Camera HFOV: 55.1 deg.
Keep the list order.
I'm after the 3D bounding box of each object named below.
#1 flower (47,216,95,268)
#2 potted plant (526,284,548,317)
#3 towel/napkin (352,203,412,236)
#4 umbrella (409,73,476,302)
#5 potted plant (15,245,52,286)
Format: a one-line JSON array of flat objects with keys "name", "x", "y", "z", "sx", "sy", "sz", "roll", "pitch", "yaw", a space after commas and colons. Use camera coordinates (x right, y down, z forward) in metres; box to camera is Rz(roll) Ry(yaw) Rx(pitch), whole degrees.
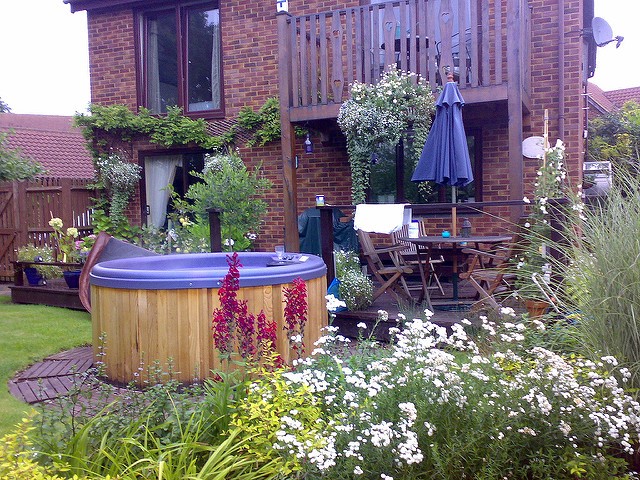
[{"name": "flower", "x": -4.397, "y": 0.062, "z": 10.803, "sx": 0.856, "sy": 0.825, "sz": 1.092, "roll": 8, "pitch": 4, "yaw": -19}, {"name": "potted plant", "x": 2.089, "y": 0.653, "z": 5.920, "sx": 0.209, "sy": 0.173, "sz": 0.258, "roll": -1, "pitch": 1, "yaw": 18}, {"name": "towel/napkin", "x": 0.725, "y": -0.261, "z": 7.431, "sx": 0.592, "sy": 0.334, "sz": 0.206, "roll": -1, "pitch": 1, "yaw": 24}, {"name": "umbrella", "x": 1.555, "y": -0.740, "z": 7.688, "sx": 0.671, "sy": 2.870, "sz": 1.639, "roll": -1, "pitch": 1, "yaw": 8}, {"name": "potted plant", "x": -4.692, "y": 0.432, "z": 10.074, "sx": 0.553, "sy": 0.662, "sz": 0.434, "roll": 0, "pitch": -2, "yaw": -16}]
